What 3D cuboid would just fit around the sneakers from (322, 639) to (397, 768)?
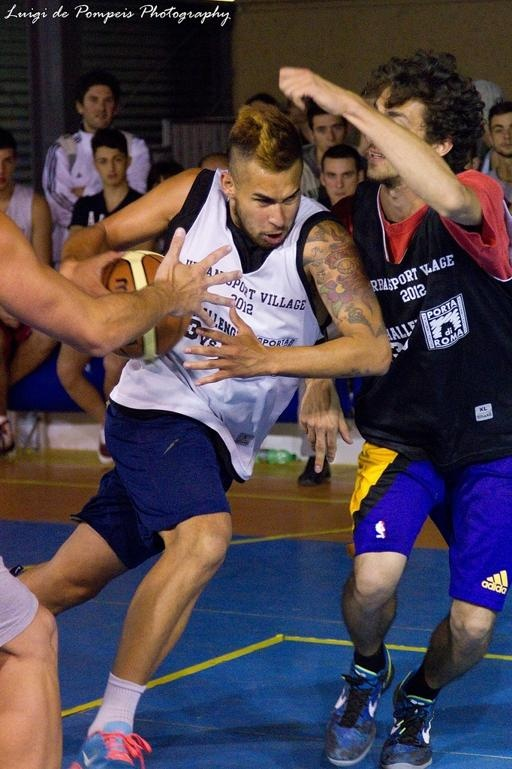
[{"bbox_3d":[0.290,0.823,1.865,0.111,0.138,0.345,8,48,26],"label":"sneakers"}]
